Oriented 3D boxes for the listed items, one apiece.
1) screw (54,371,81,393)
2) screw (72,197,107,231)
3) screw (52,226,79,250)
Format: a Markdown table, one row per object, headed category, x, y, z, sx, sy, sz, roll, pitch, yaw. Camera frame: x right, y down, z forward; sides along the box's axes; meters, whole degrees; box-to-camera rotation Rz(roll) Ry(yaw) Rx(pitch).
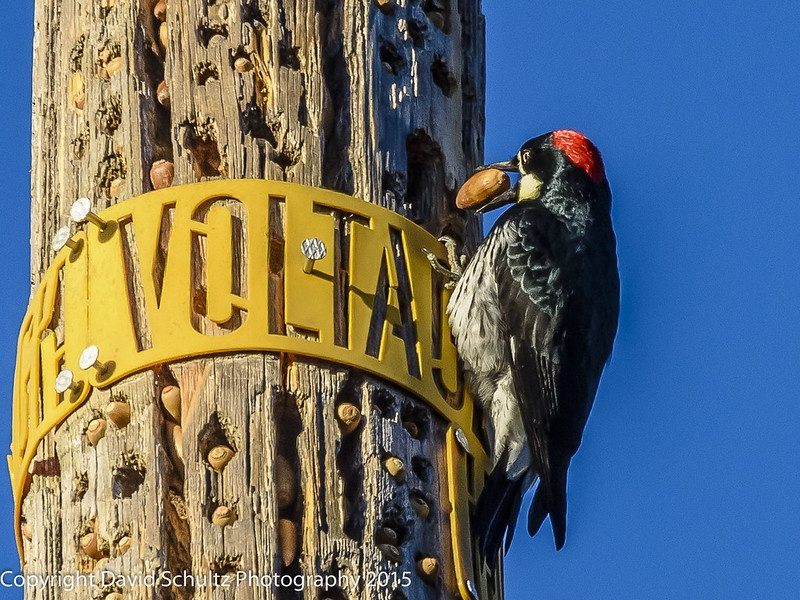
| category | x | y | z | sx | sy | sz | roll | pitch | yaw |
| --- | --- | --- | --- | --- | --- | --- | --- | --- | --- |
| screw | -1.302 | 0.307 | 13.121 | 0.087 | 0.091 | 0.078 | -13 | -32 | 13 |
| screw | -1.218 | -0.368 | 13.205 | 0.074 | 0.071 | 0.122 | -34 | -33 | 22 |
| screw | -1.333 | -0.269 | 13.221 | 0.095 | 0.099 | 0.095 | 13 | -17 | 12 |
